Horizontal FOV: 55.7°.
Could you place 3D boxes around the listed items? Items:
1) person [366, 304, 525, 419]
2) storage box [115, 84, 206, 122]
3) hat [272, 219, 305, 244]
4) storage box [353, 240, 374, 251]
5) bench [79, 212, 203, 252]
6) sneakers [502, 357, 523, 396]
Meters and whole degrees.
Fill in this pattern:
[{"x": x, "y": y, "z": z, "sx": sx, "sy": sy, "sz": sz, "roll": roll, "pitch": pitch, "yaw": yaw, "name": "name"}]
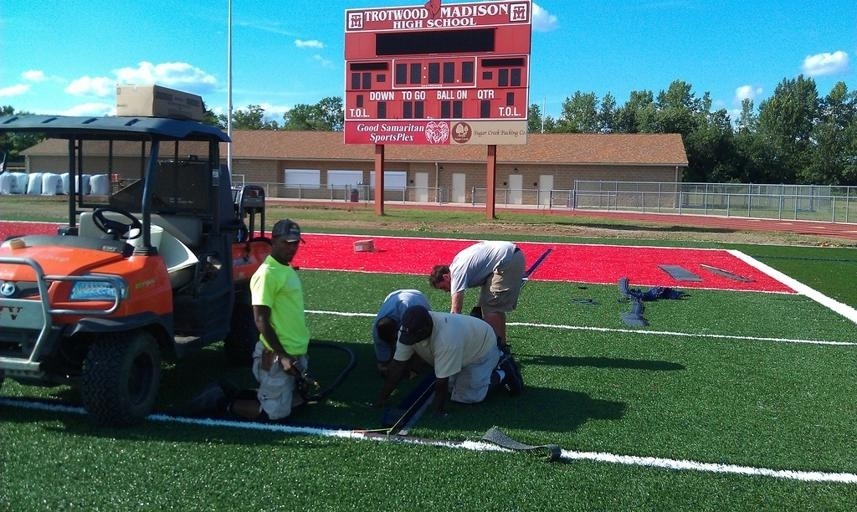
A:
[{"x": 0.312, "y": 1.209, "z": 9.967, "sx": 1.567, "sy": 1.301, "sz": 0.621, "roll": -2, "pitch": 6, "yaw": -33, "name": "person"}, {"x": -3.296, "y": -1.918, "z": 10.149, "sx": 1.059, "sy": 0.392, "sz": 0.601, "roll": -3, "pitch": 6, "yaw": -37, "name": "storage box"}, {"x": -1.640, "y": -0.299, "z": 9.464, "sx": 0.321, "sy": 0.251, "sz": 0.283, "roll": 4, "pitch": 6, "yaw": 29, "name": "hat"}, {"x": -1.554, "y": -0.259, "z": 19.427, "sx": 0.317, "sy": 0.178, "sz": 0.306, "roll": -1, "pitch": 4, "yaw": 5, "name": "storage box"}, {"x": -3.546, "y": -0.358, "z": 10.371, "sx": 0.836, "sy": 0.268, "sz": 0.775, "roll": 8, "pitch": -4, "yaw": 27, "name": "bench"}, {"x": 1.044, "y": 1.490, "z": 10.324, "sx": 0.209, "sy": 0.531, "sz": 0.246, "roll": -14, "pitch": -6, "yaw": -1, "name": "sneakers"}]
